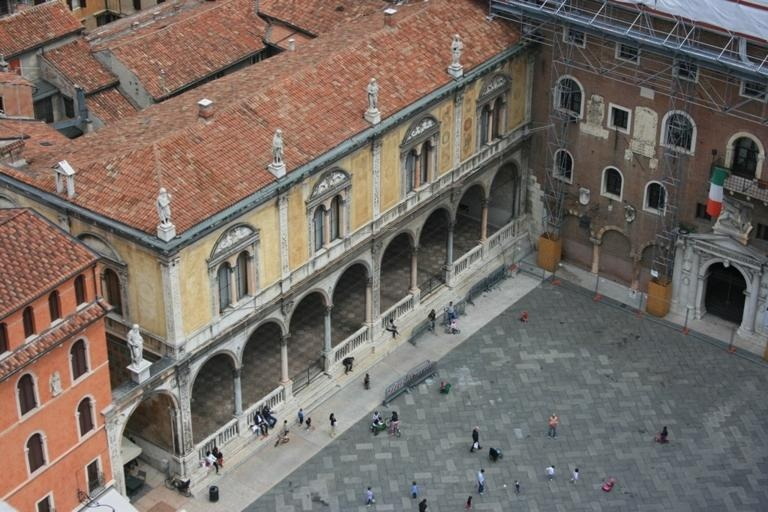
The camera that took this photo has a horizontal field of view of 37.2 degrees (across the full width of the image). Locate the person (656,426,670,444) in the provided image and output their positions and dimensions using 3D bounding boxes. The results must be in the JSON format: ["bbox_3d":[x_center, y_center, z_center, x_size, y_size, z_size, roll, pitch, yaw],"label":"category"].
[{"bbox_3d":[19.407,12.411,79.327,0.823,1.010,1.198,6,10,14],"label":"person"}]

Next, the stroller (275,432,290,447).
[{"bbox_3d":[-7.102,12.599,79.002,1.102,0.679,0.693,-28,25,-33],"label":"stroller"}]

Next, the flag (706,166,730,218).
[{"bbox_3d":[24.355,-4.757,82.998,1.657,4.138,1.538,-31,43,-29],"label":"flag"}]

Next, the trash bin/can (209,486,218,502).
[{"bbox_3d":[-11.197,15.680,75.246,0.605,1.050,0.578,1,10,-14],"label":"trash bin/can"}]

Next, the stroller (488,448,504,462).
[{"bbox_3d":[7.726,13.417,77.961,0.666,0.932,1.044,-26,47,-34],"label":"stroller"}]

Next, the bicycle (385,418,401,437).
[{"bbox_3d":[0.726,11.923,79.245,0.850,1.858,1.317,0,40,0],"label":"bicycle"}]
